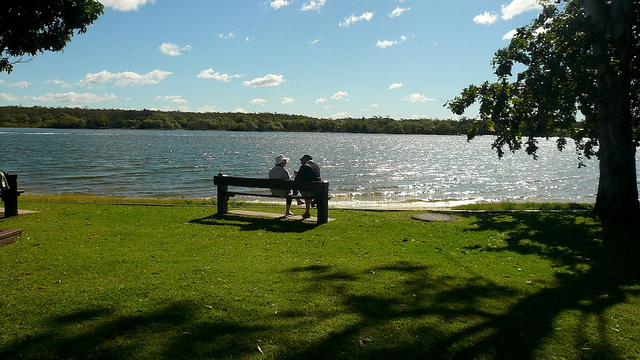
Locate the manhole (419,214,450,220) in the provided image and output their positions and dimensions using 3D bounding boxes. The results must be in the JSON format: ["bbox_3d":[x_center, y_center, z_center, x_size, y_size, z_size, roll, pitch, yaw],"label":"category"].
[{"bbox_3d":[4.322,1.429,16.643,1.249,0.062,0.798,0,9,-9],"label":"manhole"}]

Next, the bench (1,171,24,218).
[{"bbox_3d":[-11.744,0.625,16.474,0.973,1.462,2.166,-1,8,-38],"label":"bench"}]
